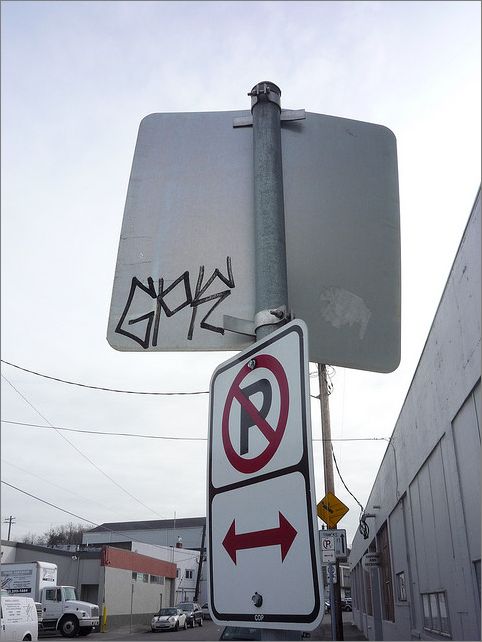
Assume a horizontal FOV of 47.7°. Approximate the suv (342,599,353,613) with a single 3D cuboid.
[{"bbox_3d":[12.418,33.365,64.073,0.979,1.368,6.746,-3,-28,9],"label":"suv"}]
